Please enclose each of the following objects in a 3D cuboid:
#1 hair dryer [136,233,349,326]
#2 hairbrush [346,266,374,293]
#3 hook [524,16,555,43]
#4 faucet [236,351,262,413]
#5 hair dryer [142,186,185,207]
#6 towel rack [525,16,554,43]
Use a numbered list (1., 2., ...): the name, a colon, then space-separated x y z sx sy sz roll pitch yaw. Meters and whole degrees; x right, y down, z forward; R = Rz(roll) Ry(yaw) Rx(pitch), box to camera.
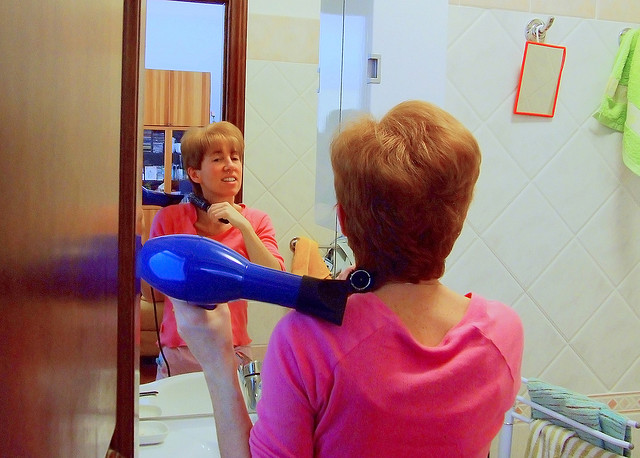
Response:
1. hair dryer: -0.090 0.057 0.734 0.250 0.081 0.045 6 10 4
2. hairbrush: 0.048 0.063 0.751 0.027 0.028 0.039 9 11 23
3. hook: 0.503 -0.463 1.464 0.048 0.071 0.067 0 2 -14
4. faucet: -0.135 0.291 1.164 0.052 0.090 0.058 -2 -12 -7
5. hair dryer: -0.249 -0.050 0.984 0.013 0.030 0.081 11 12 35
6. towel rack: 0.507 -0.463 1.459 0.047 0.069 0.065 2 -2 -11
